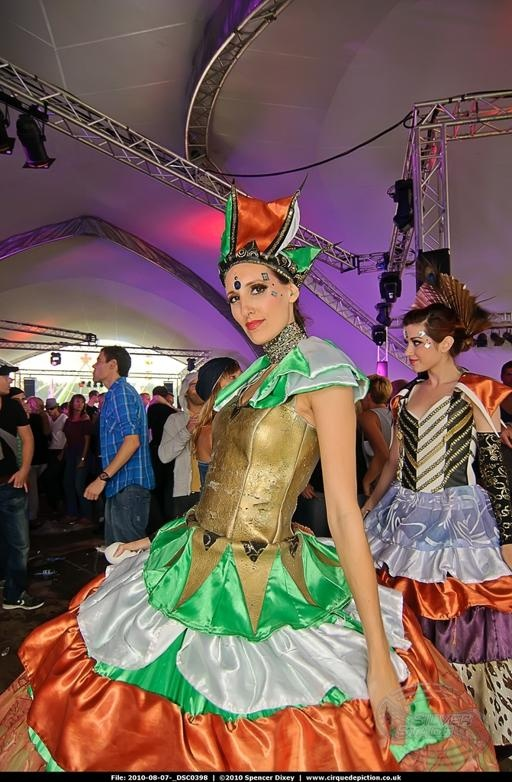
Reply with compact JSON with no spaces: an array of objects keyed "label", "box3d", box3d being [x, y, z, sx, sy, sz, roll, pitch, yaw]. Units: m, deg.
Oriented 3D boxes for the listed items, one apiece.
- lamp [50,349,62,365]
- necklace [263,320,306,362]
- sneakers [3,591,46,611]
[{"label":"lamp","box3d":[-8.773,-1.378,22.205,0.536,0.674,0.275,2,16,-10]},{"label":"necklace","box3d":[0.073,-0.129,1.347,0.091,0.065,0.118,-39,3,20]},{"label":"sneakers","box3d":[-1.660,1.530,3.666,0.272,0.110,0.118,1,-9,-9]}]
